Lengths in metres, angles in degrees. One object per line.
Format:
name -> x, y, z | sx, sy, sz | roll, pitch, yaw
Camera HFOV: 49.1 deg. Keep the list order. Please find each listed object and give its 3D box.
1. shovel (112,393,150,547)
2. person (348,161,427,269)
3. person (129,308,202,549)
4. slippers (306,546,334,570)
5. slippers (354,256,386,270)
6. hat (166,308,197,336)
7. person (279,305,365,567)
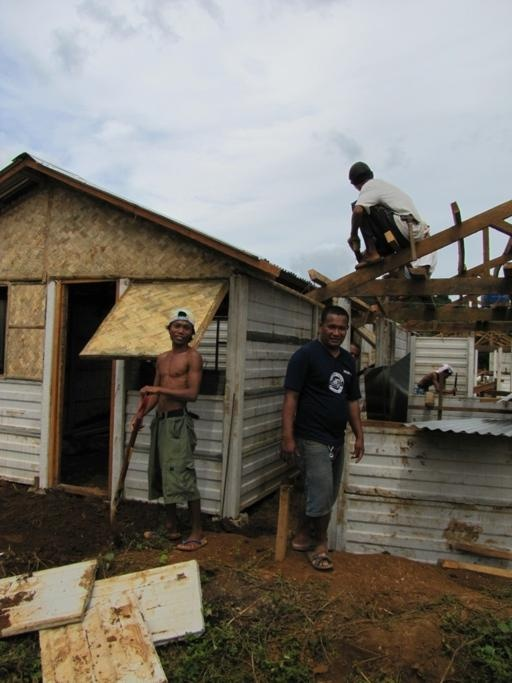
shovel -> -1.238, 1.325, 5.160 | 0.123, 1.817, 0.266 | 12, 21, 5
person -> 1.222, -1.257, 5.338 | 0.716, 1.071, 0.936 | -2, 5, 16
person -> -0.745, 0.805, 4.956 | 0.630, 2.146, 0.572 | -6, 6, -16
slippers -> 0.474, 1.658, 4.273 | 0.150, 0.089, 0.352 | 0, -9, -4
slippers -> 1.007, -0.730, 5.045 | 0.198, 0.158, 0.193 | 1, 7, 43
hat -> -0.672, -0.186, 4.934 | 0.249, 0.172, 0.235 | 3, -26, -3
person -> 0.493, 0.732, 4.350 | 0.735, 1.992, 0.452 | -9, 7, -43
